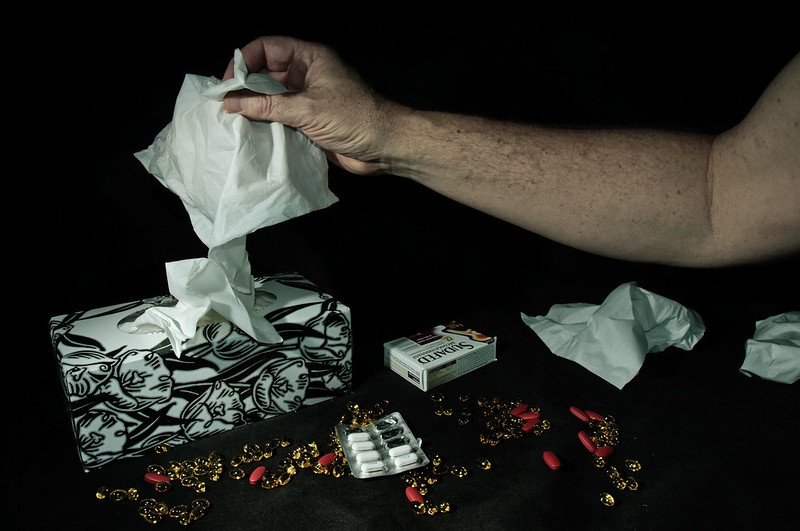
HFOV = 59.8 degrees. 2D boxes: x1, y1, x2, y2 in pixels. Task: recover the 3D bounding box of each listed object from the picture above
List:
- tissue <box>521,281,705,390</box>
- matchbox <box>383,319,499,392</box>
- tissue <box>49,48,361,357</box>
[{"bbox_3d":[0.507,0.143,1.661,0.322,0.113,0.337,-28,18,-10],"label":"tissue"},{"bbox_3d":[0.101,0.181,1.518,0.180,0.049,0.131,-21,33,-38],"label":"matchbox"},{"bbox_3d":[-0.389,-0.159,1.550,0.572,0.625,0.513,11,14,27],"label":"tissue"}]
